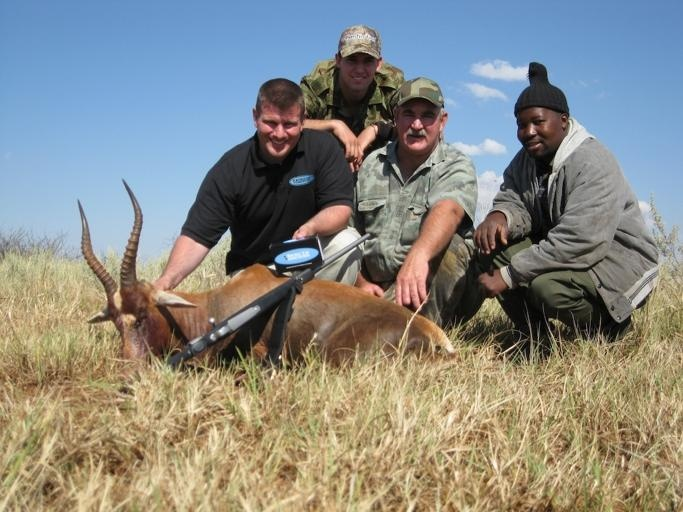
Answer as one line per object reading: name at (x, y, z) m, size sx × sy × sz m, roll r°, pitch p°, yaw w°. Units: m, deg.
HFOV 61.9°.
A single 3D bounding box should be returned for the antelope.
antelope at (-0.686, 0.375, 4.839) m, size 2.880 × 1.400 × 0.971 m, roll 12°, pitch 6°, yaw 5°
